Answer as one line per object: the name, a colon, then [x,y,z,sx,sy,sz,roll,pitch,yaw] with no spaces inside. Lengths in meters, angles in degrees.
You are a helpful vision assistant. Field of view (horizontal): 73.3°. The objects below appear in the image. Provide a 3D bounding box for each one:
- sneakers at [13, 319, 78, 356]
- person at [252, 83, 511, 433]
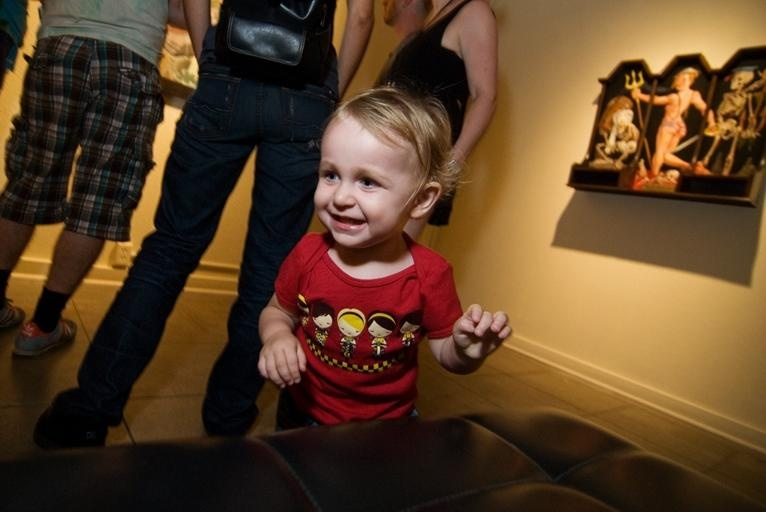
sneakers: [-1.288,0.281,2.001,0.089,0.108,0.237,6,16,8]
person: [-0.016,0.074,1.454,0.633,1.058,0.431,7,13,-11]
